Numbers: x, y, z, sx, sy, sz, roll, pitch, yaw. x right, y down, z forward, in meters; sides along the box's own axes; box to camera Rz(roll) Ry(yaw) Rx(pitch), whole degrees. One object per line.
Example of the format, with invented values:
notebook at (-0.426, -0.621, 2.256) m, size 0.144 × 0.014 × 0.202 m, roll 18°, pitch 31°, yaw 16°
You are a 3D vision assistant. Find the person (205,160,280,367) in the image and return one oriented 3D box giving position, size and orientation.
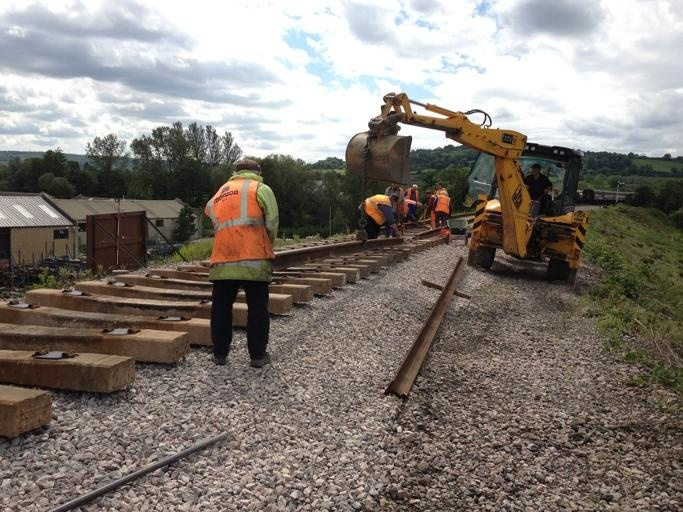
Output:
person at (-1.018, 0.025, 4.598) m, size 0.706 × 2.029 × 0.605 m, roll 0°, pitch 8°, yaw -8°

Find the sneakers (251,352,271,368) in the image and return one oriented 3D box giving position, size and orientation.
sneakers at (-0.813, 1.020, 4.547) m, size 0.082 × 0.097 × 0.244 m, roll 2°, pitch 7°, yaw 19°

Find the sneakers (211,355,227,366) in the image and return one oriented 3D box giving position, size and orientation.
sneakers at (-1.232, 1.013, 4.480) m, size 0.074 × 0.091 × 0.132 m, roll -5°, pitch -32°, yaw 4°

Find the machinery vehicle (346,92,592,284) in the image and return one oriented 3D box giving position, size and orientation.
machinery vehicle at (2.859, -1.405, 9.471) m, size 5.730 × 3.094 × 2.313 m, roll 3°, pitch 10°, yaw -28°
